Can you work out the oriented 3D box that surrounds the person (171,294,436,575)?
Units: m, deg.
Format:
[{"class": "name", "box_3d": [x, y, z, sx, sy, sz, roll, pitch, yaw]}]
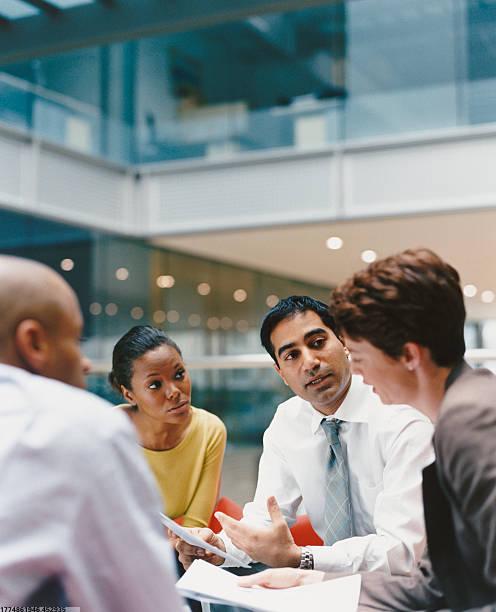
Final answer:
[{"class": "person", "box_3d": [0.205, 0.484, 2.375, 0.836, 0.869, 0.779, -4, -5, 13]}]

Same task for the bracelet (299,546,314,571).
[{"class": "bracelet", "box_3d": [0.161, 0.691, 2.022, 0.042, 0.048, 0.051, 0, -9, 1]}]
